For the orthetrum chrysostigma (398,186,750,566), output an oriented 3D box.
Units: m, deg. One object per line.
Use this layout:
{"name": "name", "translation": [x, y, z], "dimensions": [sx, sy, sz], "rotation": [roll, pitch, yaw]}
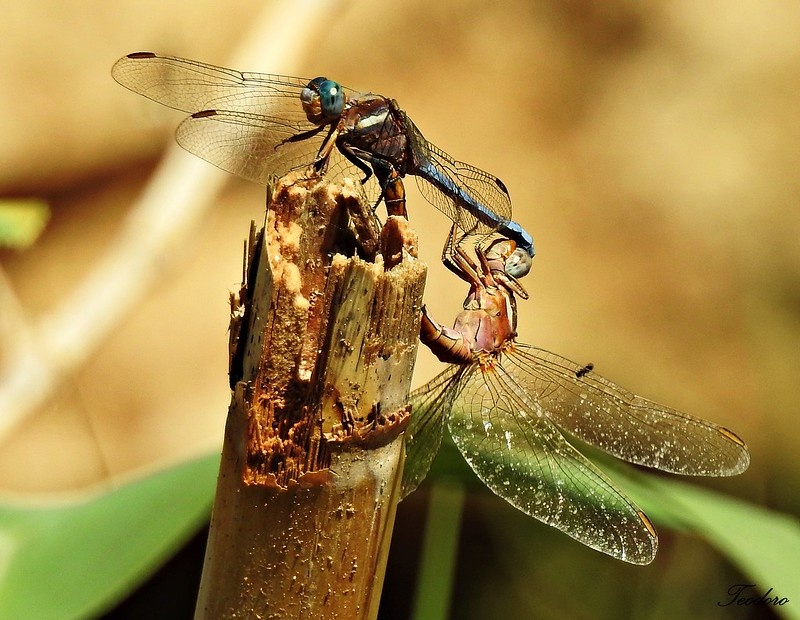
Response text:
{"name": "orthetrum chrysostigma", "translation": [0.188, 0.141, 2.400], "dimensions": [1.456, 0.717, 0.887], "rotation": [10, 10, 22]}
